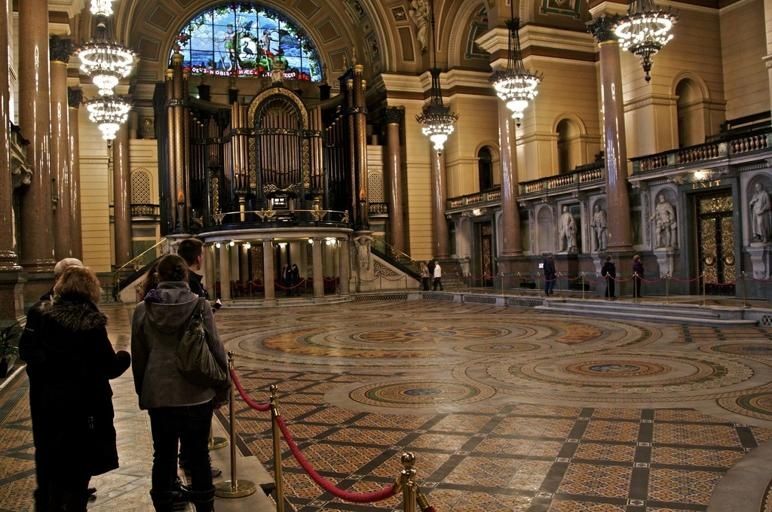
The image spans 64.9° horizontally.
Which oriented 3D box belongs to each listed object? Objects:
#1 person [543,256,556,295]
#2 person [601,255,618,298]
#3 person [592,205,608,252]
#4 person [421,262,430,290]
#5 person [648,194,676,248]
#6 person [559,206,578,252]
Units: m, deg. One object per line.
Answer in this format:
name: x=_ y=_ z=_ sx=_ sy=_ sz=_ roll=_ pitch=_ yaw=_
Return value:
person: x=5.782 y=0.669 z=21.358 sx=0.357 sy=1.418 sz=0.674 roll=-2 pitch=0 yaw=14
person: x=7.111 y=0.662 z=19.283 sx=0.434 sy=1.380 sz=1.111 roll=-2 pitch=0 yaw=20
person: x=7.680 y=-1.003 z=21.742 sx=0.224 sy=1.742 sz=0.849 roll=-2 pitch=0 yaw=-17
person: x=1.777 y=0.961 z=27.090 sx=0.379 sy=1.182 sz=0.946 roll=-2 pitch=0 yaw=3
person: x=9.100 y=-1.145 z=19.753 sx=0.666 sy=1.931 sz=0.297 roll=-2 pitch=0 yaw=38
person: x=6.953 y=-1.014 z=23.146 sx=0.694 sy=1.834 sz=0.475 roll=-2 pitch=0 yaw=28
